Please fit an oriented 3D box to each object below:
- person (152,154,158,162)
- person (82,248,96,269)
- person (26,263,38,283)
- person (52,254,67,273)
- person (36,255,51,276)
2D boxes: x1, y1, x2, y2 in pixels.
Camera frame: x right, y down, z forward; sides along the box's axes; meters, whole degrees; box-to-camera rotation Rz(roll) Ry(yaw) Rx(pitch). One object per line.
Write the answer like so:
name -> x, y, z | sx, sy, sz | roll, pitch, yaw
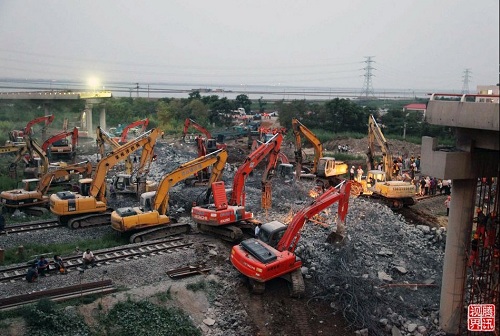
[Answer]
person -> -9.722, -1.020, 36.232 | 0.587, 0.864, 1.949 | 1, 9, -8
person -> -8.101, 4.619, 17.935 | 0.584, 0.846, 0.594 | -10, 27, -41
person -> -10.045, 4.898, 16.442 | 0.557, 0.880, 0.509 | 7, 4, -1
person -> -9.248, 4.615, 17.358 | 0.513, 0.810, 1.204 | -6, 6, -29
person -> -9.808, 4.625, 16.906 | 0.502, 0.876, 0.568 | -6, 7, -31
